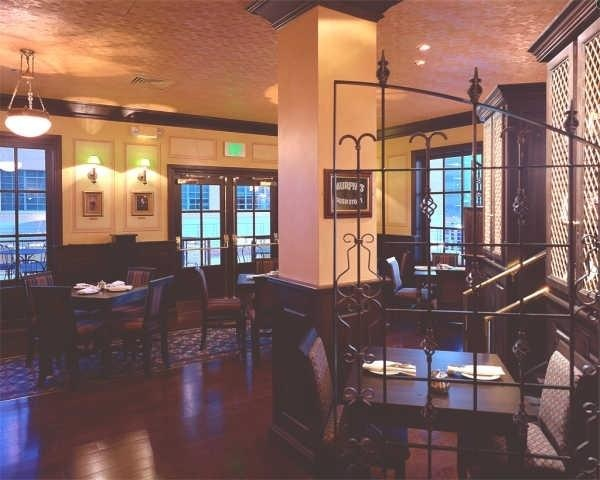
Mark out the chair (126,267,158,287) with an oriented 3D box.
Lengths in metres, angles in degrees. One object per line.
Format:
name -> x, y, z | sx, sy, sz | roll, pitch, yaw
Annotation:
chair -> -2.059, 0.474, 6.736 | 0.255, 0.445, 0.302 | 0, -3, 7

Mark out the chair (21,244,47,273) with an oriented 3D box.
chair -> -3.849, 0.263, 7.454 | 0.365, 0.418, 0.363 | 1, 0, -35

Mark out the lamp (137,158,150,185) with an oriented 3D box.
lamp -> -2.489, -1.062, 8.195 | 0.202, 0.399, 0.158 | -4, 11, -22

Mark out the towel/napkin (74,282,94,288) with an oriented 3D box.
towel/napkin -> -2.822, 0.591, 6.703 | 0.123, 0.058, 0.186 | -3, -6, 44

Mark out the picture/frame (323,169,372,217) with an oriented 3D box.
picture/frame -> 0.344, -0.368, 4.004 | 0.424, 0.367, 0.030 | -1, 2, -27

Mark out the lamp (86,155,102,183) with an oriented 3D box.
lamp -> -3.124, -1.044, 7.809 | 0.195, 0.404, 0.128 | -5, 12, -26

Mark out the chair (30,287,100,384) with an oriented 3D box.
chair -> -2.407, 0.973, 5.334 | 0.615, 1.026, 0.349 | -6, 12, -28

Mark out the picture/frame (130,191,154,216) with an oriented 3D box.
picture/frame -> -2.539, -0.571, 8.200 | 0.370, 0.417, 0.055 | -1, -1, -33

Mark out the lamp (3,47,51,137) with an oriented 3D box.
lamp -> -3.404, -1.708, 6.343 | 0.567, 0.916, 2.186 | -5, 12, -24

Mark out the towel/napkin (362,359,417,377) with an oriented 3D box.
towel/napkin -> 0.623, 0.904, 3.640 | 0.310, 0.068, 0.230 | 1, 2, 1

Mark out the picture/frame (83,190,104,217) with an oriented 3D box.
picture/frame -> -3.153, -0.542, 7.811 | 0.379, 0.532, 0.067 | -1, 3, -37

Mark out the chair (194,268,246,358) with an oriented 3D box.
chair -> -0.945, 0.926, 7.021 | 0.908, 1.475, 0.885 | -1, 4, -6

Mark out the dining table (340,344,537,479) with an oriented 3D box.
dining table -> 0.906, 1.055, 3.419 | 1.073, 1.069, 1.104 | -1, -9, 6

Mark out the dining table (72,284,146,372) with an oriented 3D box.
dining table -> -2.096, 0.958, 5.933 | 0.922, 0.724, 0.745 | -2, -4, 18

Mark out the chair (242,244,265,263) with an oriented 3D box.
chair -> -0.776, 0.245, 9.222 | 0.547, 0.317, 0.175 | -8, 13, -37
